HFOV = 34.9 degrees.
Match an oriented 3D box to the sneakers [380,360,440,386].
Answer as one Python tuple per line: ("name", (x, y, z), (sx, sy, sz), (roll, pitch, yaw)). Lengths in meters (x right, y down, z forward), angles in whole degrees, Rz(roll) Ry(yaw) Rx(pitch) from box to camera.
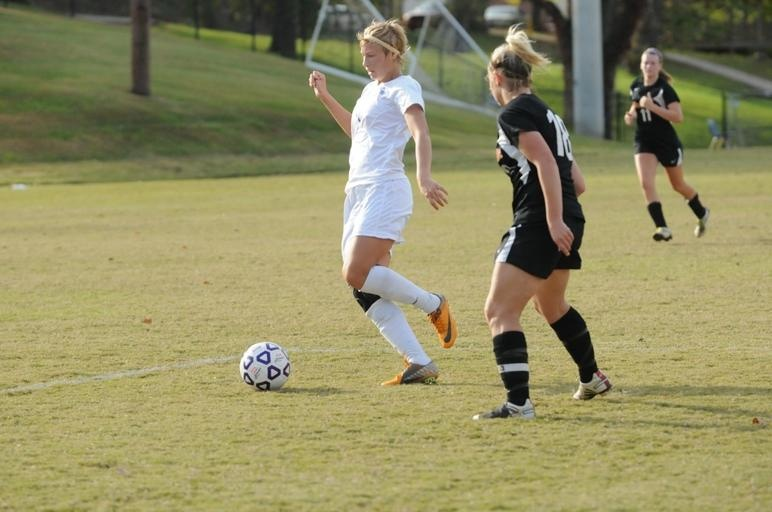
("sneakers", (0.177, 0.805, 8.334), (0.451, 0.168, 0.136), (0, 0, -6))

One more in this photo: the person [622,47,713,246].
("person", (2.741, -1.085, 11.926), (0.882, 1.867, 1.148), (5, 8, 11))

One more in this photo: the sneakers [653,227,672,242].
("sneakers", (2.612, -0.208, 11.658), (0.110, 0.100, 0.236), (-3, -7, 9))

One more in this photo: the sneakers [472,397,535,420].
("sneakers", (0.750, 0.965, 7.797), (0.442, 0.139, 0.138), (1, -9, 1))

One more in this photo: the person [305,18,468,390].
("person", (0.053, -0.398, 8.442), (0.798, 2.446, 0.915), (3, 8, -3))

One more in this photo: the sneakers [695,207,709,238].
("sneakers", (3.087, -0.323, 11.962), (0.153, 0.291, 0.106), (2, 24, 1))

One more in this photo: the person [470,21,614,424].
("person", (0.990, -0.200, 7.812), (0.820, 2.444, 0.569), (3, 8, 1))

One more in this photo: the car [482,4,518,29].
("car", (4.976, -10.190, 52.539), (1.605, 1.015, 3.254), (2, 18, 14))
